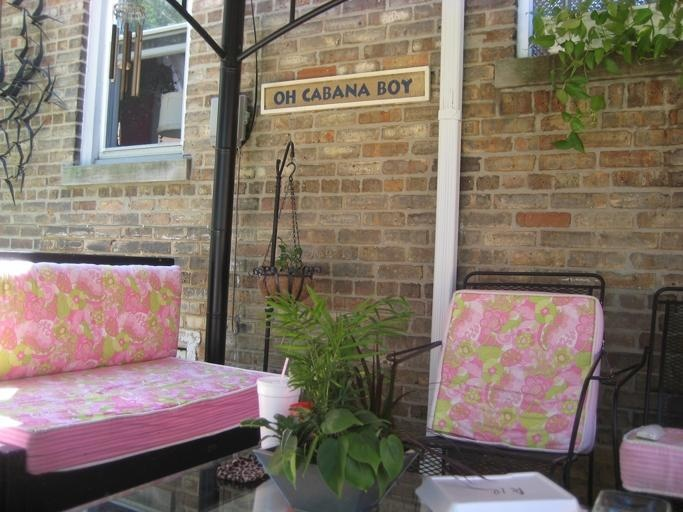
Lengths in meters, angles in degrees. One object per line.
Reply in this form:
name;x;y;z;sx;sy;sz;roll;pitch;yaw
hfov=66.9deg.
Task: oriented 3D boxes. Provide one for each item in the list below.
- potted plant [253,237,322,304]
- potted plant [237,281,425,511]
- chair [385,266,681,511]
potted plant;-0.337;0.107;3.014;0.378;0.398;0.381;3;-5;-33
potted plant;-0.032;0.361;1.255;0.382;0.567;0.397;1;3;6
chair;0.870;0.499;2.435;0.948;1.218;1.212;-2;-5;31
